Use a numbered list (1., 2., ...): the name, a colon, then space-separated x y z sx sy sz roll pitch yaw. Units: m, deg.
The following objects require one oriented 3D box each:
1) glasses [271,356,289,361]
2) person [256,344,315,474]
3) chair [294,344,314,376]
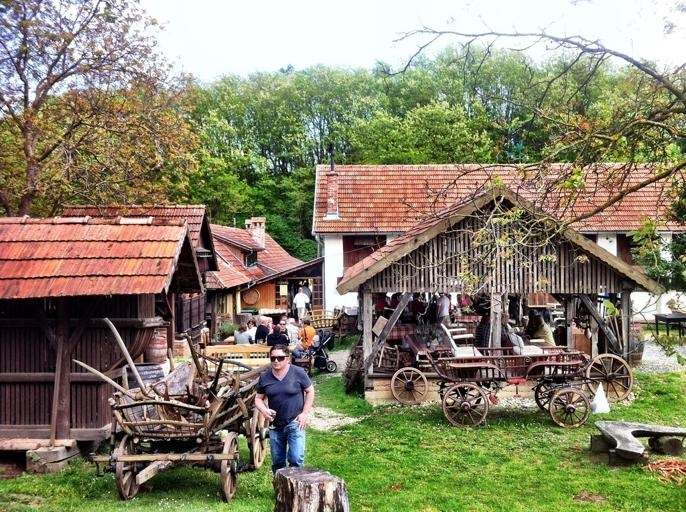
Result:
1. glasses: -1.156 1.854 12.596 0.295 0.124 0.203 -1 6 -8
2. person: -1.078 3.064 12.754 1.031 2.906 0.884 0 11 11
3. chair: -1.333 3.434 23.059 0.815 0.574 1.042 1 -1 2
